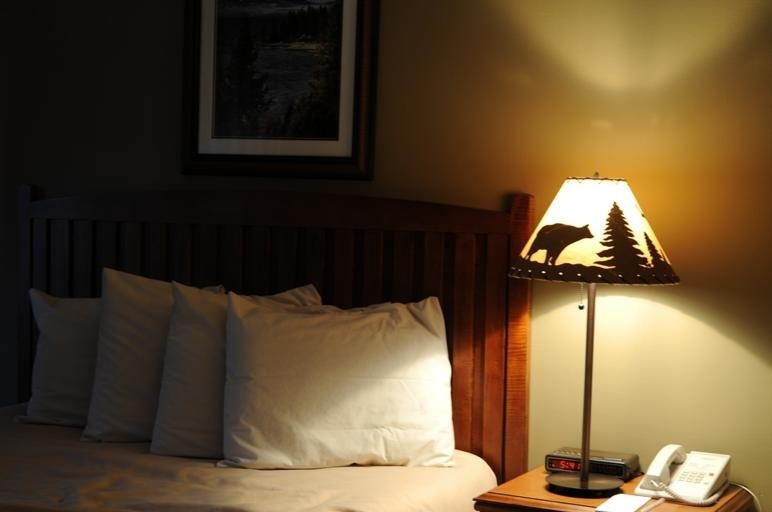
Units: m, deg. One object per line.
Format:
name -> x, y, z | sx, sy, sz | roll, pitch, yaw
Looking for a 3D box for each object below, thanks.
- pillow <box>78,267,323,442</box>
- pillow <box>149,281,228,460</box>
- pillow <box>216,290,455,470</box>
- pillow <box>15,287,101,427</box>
pillow -> -1.020, 0.435, 3.026 | 0.623, 0.646, 0.195 | 2, -10, -4
pillow -> -0.730, 0.456, 2.802 | 0.261, 0.636, 0.257 | 8, 5, -17
pillow -> -0.201, 0.498, 2.740 | 0.616, 0.510, 0.220 | 0, -12, -4
pillow -> -1.377, 0.436, 3.094 | 0.513, 0.585, 0.202 | 1, -9, 15
